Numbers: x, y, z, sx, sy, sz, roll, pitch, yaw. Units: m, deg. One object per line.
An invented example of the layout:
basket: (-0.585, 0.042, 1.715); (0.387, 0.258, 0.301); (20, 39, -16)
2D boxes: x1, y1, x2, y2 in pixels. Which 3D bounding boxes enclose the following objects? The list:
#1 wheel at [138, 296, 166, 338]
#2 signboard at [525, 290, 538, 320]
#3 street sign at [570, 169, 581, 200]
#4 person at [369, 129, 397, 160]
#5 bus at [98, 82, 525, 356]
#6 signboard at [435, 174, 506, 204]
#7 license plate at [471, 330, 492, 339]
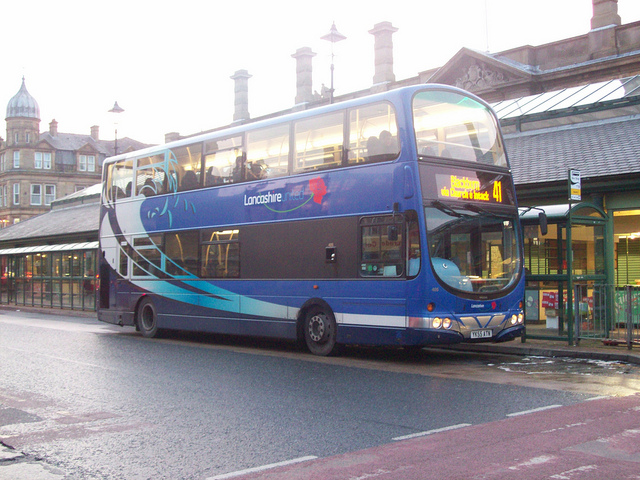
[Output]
wheel: (-5.131, 2.284, 19.242); (0.383, 1.188, 1.083); (1, -10, -37)
signboard: (5.654, 1.735, 17.035); (0.111, 0.797, 0.395); (0, -1, -36)
street sign: (6.231, -1.329, 15.544); (0.102, 1.047, 0.706); (-2, -3, 34)
person: (1.364, -2.071, 13.763); (0.514, 0.987, 0.550); (-3, 7, -31)
bus: (-0.860, -0.140, 18.024); (5.135, 6.188, 13.754); (3, -6, -41)
signboard: (3.259, -1.139, 13.651); (0.038, 0.657, 2.111); (-8, 12, -29)
license plate: (3.398, 1.981, 13.365); (0.641, 0.170, 0.035); (1, -1, -35)
